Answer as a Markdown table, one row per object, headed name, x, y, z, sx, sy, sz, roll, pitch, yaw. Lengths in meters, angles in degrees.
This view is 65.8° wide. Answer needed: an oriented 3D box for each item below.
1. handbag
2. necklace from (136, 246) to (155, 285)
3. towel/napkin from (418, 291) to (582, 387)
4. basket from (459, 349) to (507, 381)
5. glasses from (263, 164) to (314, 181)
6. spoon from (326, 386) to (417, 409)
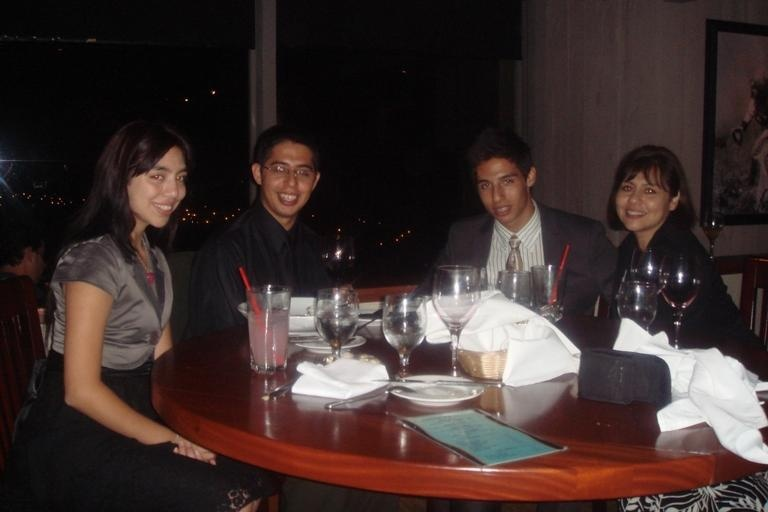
| name | x | y | z | sx | sy | sz | roll | pitch | yaw |
| --- | --- | --- | --- | --- | --- | --- | --- | --- | --- |
| handbag | 0.655 | 0.316 | 1.613 | 0.193 | 0.149 | 0.135 | 8 | -5 | 14 |
| necklace | -0.915 | 0.022 | 2.265 | 0.083 | 0.159 | 0.039 | -5 | -15 | -9 |
| towel/napkin | 0.380 | 0.187 | 1.815 | 0.280 | 0.131 | 0.377 | 1 | 11 | -21 |
| basket | 0.303 | 0.323 | 1.766 | 0.113 | 0.084 | 0.035 | 7 | 1 | 3 |
| glasses | -0.467 | -0.411 | 2.873 | 0.234 | 0.065 | 0.057 | 1 | 6 | -3 |
| spoon | -0.038 | 0.392 | 1.641 | 0.254 | 0.020 | 0.083 | -4 | 8 | -30 |
